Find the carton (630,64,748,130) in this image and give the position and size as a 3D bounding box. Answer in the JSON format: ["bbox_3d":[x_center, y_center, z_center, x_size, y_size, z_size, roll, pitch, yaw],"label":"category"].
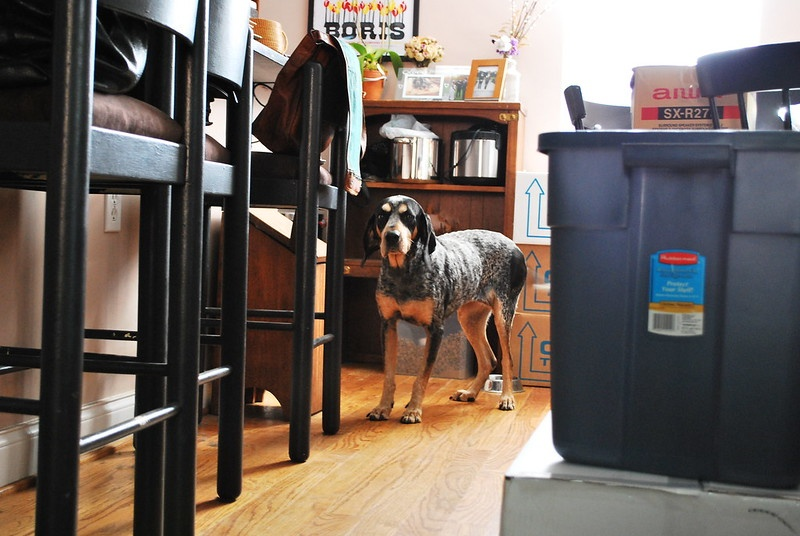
[{"bbox_3d":[0.591,-0.339,1.388,0.241,0.160,0.130,-3,0,-8],"label":"carton"}]

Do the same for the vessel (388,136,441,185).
[{"bbox_3d":[0.082,-0.523,3.234,0.247,0.174,0.224,-1,3,-36],"label":"vessel"}]

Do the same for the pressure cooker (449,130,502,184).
[{"bbox_3d":[0.385,-0.551,3.300,0.276,0.274,0.264,1,0,10],"label":"pressure cooker"}]

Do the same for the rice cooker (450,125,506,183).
[{"bbox_3d":[0.381,-0.545,3.167,0.285,0.292,0.302,3,2,40],"label":"rice cooker"}]

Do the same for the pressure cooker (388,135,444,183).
[{"bbox_3d":[0.086,-0.530,3.247,0.223,0.182,0.257,2,4,23],"label":"pressure cooker"}]

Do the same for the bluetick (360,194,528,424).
[{"bbox_3d":[0.203,0.144,2.512,0.408,0.812,0.756,4,3,45],"label":"bluetick"}]

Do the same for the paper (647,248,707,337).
[{"bbox_3d":[0.404,0.033,0.935,0.097,0.162,0.018,1,35,23],"label":"paper"}]

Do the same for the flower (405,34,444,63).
[{"bbox_3d":[0.114,-1.090,3.220,0.156,0.106,0.154,3,8,8],"label":"flower"}]
